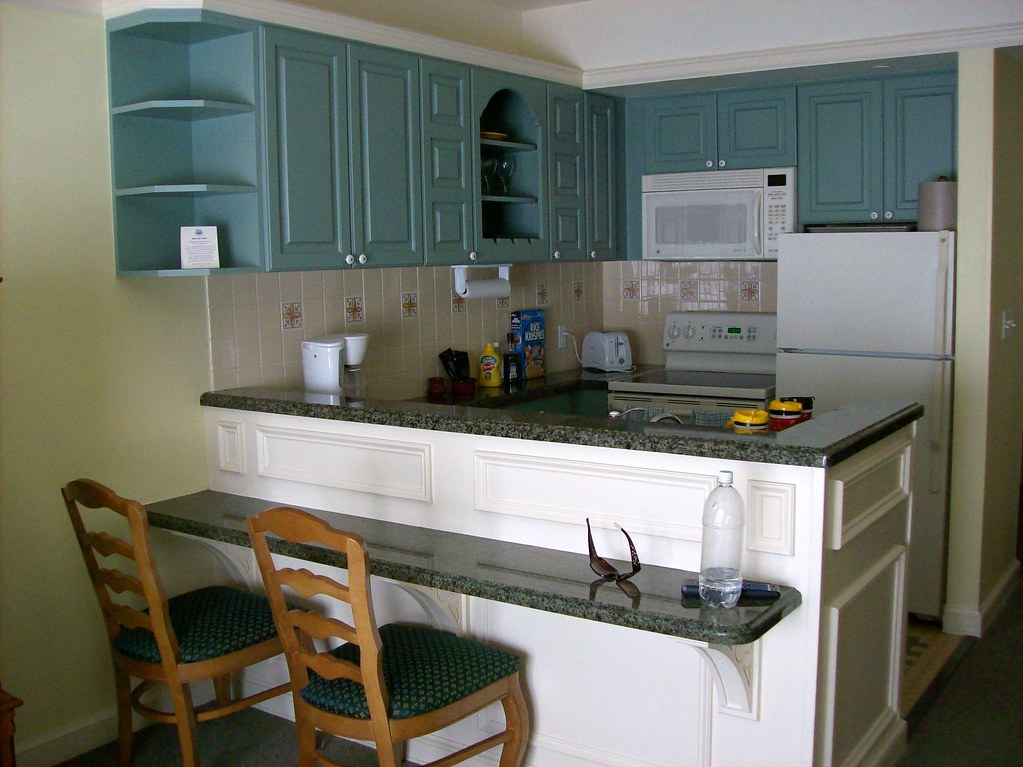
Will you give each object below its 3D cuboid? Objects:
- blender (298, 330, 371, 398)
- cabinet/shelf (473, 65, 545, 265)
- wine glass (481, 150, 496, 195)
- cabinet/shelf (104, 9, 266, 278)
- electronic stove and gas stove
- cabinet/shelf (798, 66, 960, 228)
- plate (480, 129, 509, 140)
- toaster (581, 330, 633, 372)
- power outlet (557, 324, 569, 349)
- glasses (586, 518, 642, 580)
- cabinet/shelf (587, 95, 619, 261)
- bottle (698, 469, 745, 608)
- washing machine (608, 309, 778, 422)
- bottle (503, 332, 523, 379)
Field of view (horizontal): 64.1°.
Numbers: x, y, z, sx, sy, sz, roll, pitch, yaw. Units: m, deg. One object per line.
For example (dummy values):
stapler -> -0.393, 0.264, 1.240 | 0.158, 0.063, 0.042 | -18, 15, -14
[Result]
blender -> -0.777, -0.066, 3.626 | 0.287, 0.285, 0.278 | -7, 10, -29
cabinet/shelf -> 0.007, -1.079, 4.141 | 0.356, 0.927, 0.504 | -2, 8, 4
wine glass -> -0.110, -1.081, 4.192 | 0.082, 0.225, 0.184 | -2, 9, 1
cabinet/shelf -> -1.235, -0.889, 3.085 | 0.502, 0.944, 0.367 | 3, 10, 30
electronic stove and gas stove -> 1.076, -0.157, 4.629 | 0.614, 0.411, 0.662 | 4, 8, 34
cabinet/shelf -> 1.940, -1.193, 4.366 | 0.828, 0.748, 0.325 | 0, -4, 9
plate -> -0.082, -1.230, 4.083 | 0.083, 0.050, 0.272 | 1, 9, 19
toaster -> 0.586, -0.209, 5.042 | 0.253, 0.229, 0.240 | 5, 9, 42
power outlet -> 0.313, -0.283, 5.011 | 0.033, 0.143, 0.101 | 3, 10, 33
glasses -> 0.300, 0.493, 2.426 | 0.138, 0.166, 0.048 | -23, -13, 40
cabinet/shelf -> 0.510, -1.161, 4.686 | 0.086, 0.923, 0.339 | 6, 14, 35
bottle -> 0.584, 0.416, 2.276 | 0.112, 0.366, 0.215 | 0, 9, 17
washing machine -> 1.064, -0.079, 4.647 | 0.698, 0.787, 0.749 | 3, 4, 38
bottle -> 0.009, -0.142, 4.593 | 0.103, 0.268, 0.194 | -2, 9, 3
